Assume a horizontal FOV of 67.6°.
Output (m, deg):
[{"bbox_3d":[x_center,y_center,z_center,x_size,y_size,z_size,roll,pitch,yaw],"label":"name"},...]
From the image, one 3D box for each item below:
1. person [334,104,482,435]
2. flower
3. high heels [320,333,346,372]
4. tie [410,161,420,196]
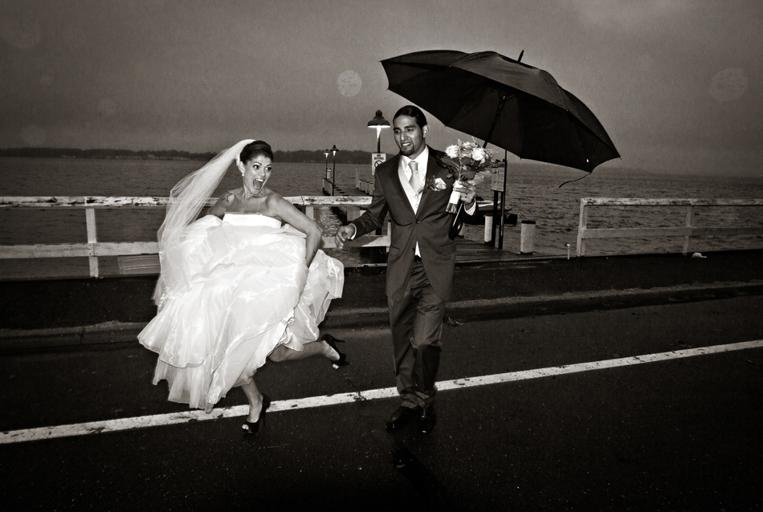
[{"bbox_3d":[0.253,0.122,5.904,0.947,3.268,0.591,2,8,13],"label":"person"},{"bbox_3d":[0.831,-0.771,5.649,0.509,0.732,0.376,1,8,6],"label":"flower"},{"bbox_3d":[-0.570,1.036,6.714,0.234,0.614,0.183,-1,-17,-36],"label":"high heels"},{"bbox_3d":[0.333,-0.801,5.799,0.114,0.308,0.055,0,8,-1],"label":"tie"}]
